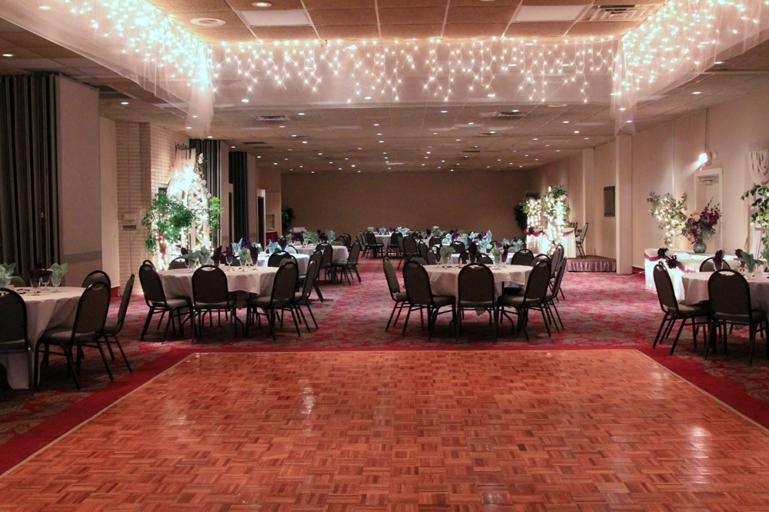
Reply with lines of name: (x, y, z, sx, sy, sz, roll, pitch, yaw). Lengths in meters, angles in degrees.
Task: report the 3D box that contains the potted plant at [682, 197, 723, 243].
potted plant: (6.817, -0.727, 10.125, 0.647, 0.943, 2.263, 2, 3, 35)
